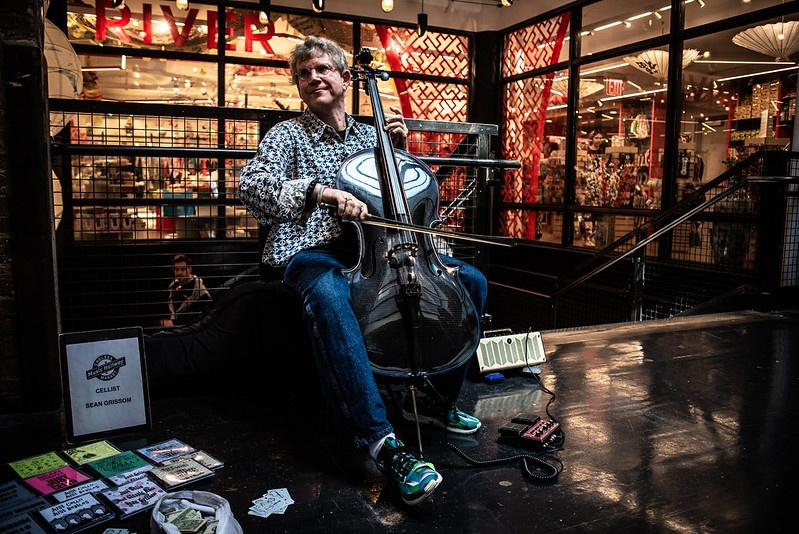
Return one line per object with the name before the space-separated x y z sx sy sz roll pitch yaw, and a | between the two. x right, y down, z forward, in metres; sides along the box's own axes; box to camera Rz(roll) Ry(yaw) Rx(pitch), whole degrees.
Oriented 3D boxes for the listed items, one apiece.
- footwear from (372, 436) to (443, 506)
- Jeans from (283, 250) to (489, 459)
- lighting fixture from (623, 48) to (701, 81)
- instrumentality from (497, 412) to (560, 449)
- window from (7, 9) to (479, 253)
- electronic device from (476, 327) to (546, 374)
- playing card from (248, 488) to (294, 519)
footwear | 0.033 0.913 2.729 0.176 0.207 0.483 -22 9 -20
Jeans | -0.298 0.396 3.120 0.704 1.160 0.339 -10 -6 -2
lighting fixture | 2.961 -2.294 6.608 0.090 0.375 0.979 -4 11 -24
instrumentality | 0.661 0.834 2.960 0.185 0.072 0.178 0 5 26
window | -1.500 -1.154 4.756 3.009 0.792 3.330 -2 24 -7
electronic device | 0.681 0.516 3.593 0.447 0.255 0.117 -4 0 -19
playing card | -0.574 1.059 2.612 0.100 0.031 0.107 -7 28 -26
